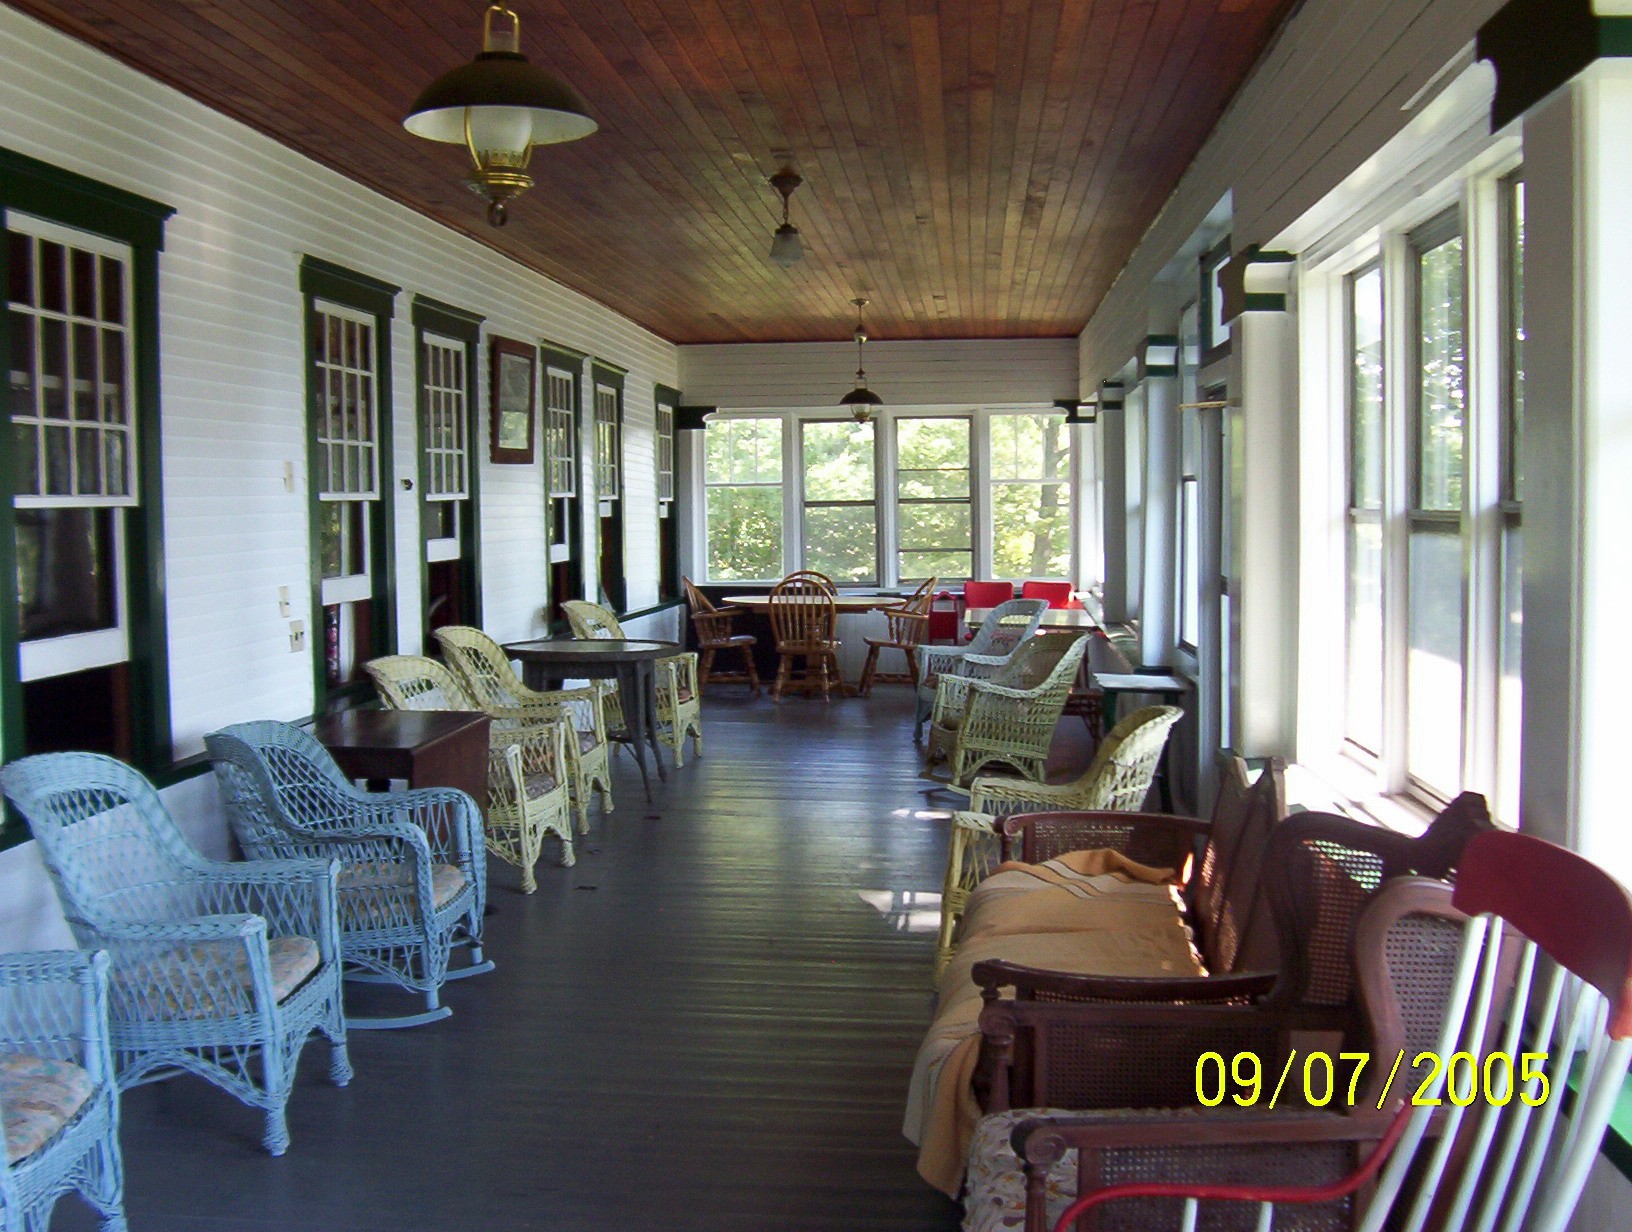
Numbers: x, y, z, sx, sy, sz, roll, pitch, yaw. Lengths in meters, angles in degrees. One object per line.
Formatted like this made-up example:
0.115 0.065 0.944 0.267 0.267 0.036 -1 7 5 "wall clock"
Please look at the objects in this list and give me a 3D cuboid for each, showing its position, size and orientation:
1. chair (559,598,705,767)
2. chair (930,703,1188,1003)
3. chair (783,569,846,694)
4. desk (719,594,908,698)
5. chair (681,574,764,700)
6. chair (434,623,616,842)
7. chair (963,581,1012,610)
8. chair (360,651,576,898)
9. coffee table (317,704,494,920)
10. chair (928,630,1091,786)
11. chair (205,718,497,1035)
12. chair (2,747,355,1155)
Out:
-1.384 0.446 8.668 1.189 1.552 0.988 0 4 14 "chair"
0.902 0.782 4.432 1.027 1.276 0.820 2 -2 9 "chair"
-0.065 0.182 11.123 0.559 1.156 1.429 0 6 0 "chair"
-0.027 0.298 11.765 1.446 0.724 0.820 -3 -5 30 "desk"
-0.896 0.223 11.632 0.810 1.074 0.717 -1 -2 -11 "chair"
-1.667 0.571 6.845 1.154 1.496 0.966 -1 0 6 "chair"
1.659 -0.188 11.492 0.317 0.392 0.296 1 2 9 "chair"
-1.693 0.755 5.809 0.873 1.084 0.740 2 4 10 "chair"
-1.801 0.696 5.018 0.384 0.476 0.517 0 14 -2 "coffee table"
1.109 0.534 6.870 0.849 0.818 0.795 4 4 -21 "chair"
-1.668 0.921 4.501 1.029 1.085 0.985 -5 6 16 "chair"
-2.050 0.954 3.982 1.140 1.458 1.063 -1 0 5 "chair"
